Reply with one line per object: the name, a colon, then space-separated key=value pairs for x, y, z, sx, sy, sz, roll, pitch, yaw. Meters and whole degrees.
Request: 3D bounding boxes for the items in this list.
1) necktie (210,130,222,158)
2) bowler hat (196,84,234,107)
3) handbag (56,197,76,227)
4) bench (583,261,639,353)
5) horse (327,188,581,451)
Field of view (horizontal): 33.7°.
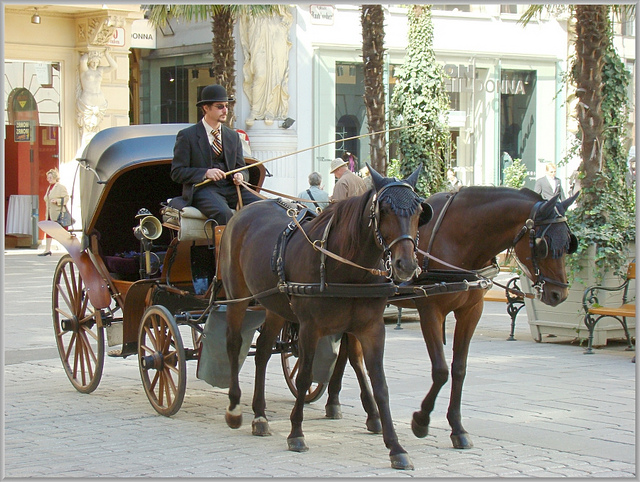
necktie: x=-1.268 y=-1.206 z=12.954 sx=0.186 sy=0.267 sz=0.073 roll=0 pitch=-2 yaw=-40
bowler hat: x=-1.290 y=-1.756 z=12.734 sx=0.359 sy=0.249 sz=0.241 roll=0 pitch=4 yaw=-7
handbag: x=-6.317 y=-0.719 z=25.930 sx=0.328 sy=0.693 sz=0.956 roll=-1 pitch=4 yaw=-14
bench: x=4.263 y=0.964 z=15.539 sx=0.759 sy=1.296 sz=1.008 roll=2 pitch=5 yaw=14
horse: x=1.197 y=0.822 z=12.302 sx=1.265 sy=2.787 sz=4.606 roll=7 pitch=-3 yaw=-30
